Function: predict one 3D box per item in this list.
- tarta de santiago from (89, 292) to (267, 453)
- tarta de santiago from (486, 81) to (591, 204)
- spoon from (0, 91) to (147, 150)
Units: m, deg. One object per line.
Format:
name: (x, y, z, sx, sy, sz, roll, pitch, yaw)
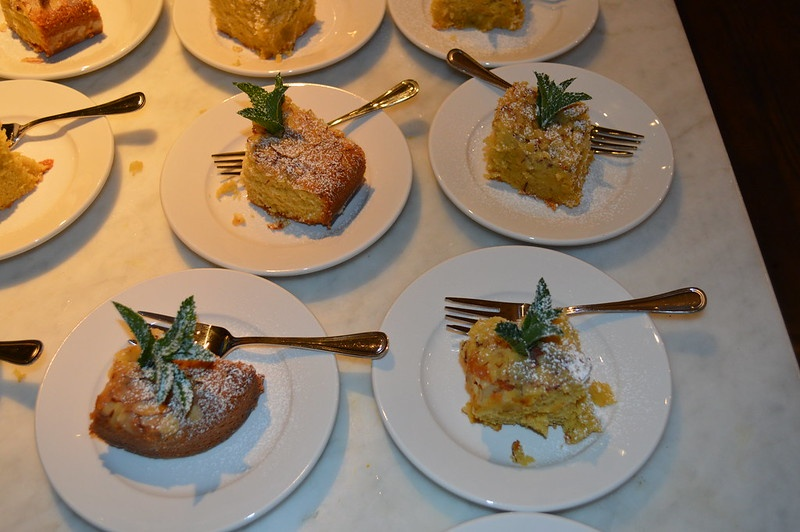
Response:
tarta de santiago: (-0.840, 0.425, 2.463, 0.592, 0.313, 0.604, 13, 76, 6)
tarta de santiago: (0.645, -0.528, 3.126, 0.453, 0.311, 0.505, 21, 67, 9)
spoon: (-1.565, -0.677, 3.101, 0.762, 0.086, 0.184, -16, 79, 10)
